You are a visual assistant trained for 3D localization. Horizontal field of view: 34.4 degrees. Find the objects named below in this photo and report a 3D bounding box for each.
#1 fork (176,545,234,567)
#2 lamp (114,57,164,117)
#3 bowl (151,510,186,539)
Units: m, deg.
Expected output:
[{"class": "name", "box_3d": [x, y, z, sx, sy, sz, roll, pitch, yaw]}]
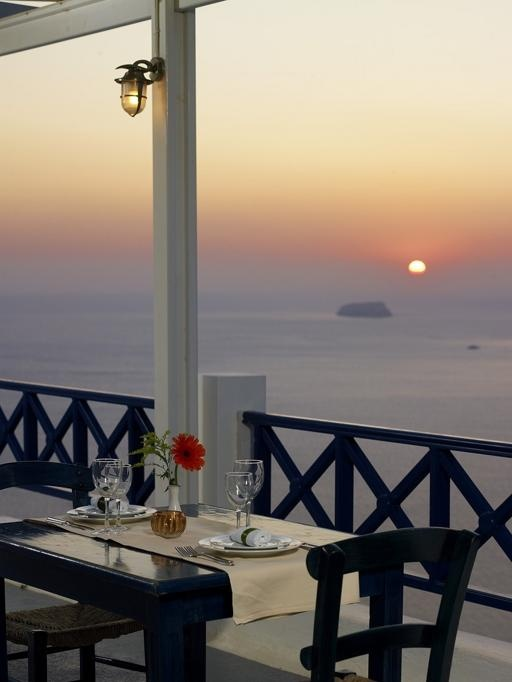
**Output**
[{"class": "fork", "box_3d": [-0.102, 0.411, 1.575, 0.037, 0.017, 0.147, -10, 13, -31]}, {"class": "lamp", "box_3d": [-0.460, -1.014, 3.266, 0.185, 0.249, 0.122, -5, 9, -34]}, {"class": "bowl", "box_3d": [-0.188, 0.395, 1.771, 0.059, 0.040, 0.059, 2, -3, 0]}]
